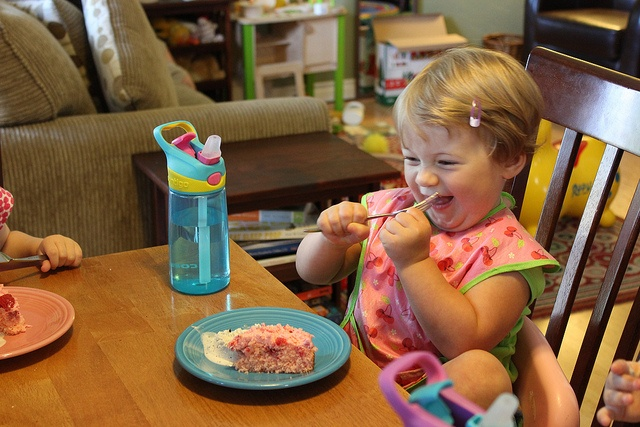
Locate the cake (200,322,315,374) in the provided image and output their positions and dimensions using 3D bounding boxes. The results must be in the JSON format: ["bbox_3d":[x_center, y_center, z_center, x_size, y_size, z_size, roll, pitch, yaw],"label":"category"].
[{"bbox_3d":[-0.093,0.199,0.832,0.123,0.049,0.084,1,8,-2],"label":"cake"}]

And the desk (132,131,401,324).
[{"bbox_3d":[-0.172,-0.160,1.877,0.697,0.720,0.557,-10,36,-17],"label":"desk"}]

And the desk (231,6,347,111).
[{"bbox_3d":[-0.157,-0.983,3.214,0.651,0.857,0.572,-10,28,-17],"label":"desk"}]
